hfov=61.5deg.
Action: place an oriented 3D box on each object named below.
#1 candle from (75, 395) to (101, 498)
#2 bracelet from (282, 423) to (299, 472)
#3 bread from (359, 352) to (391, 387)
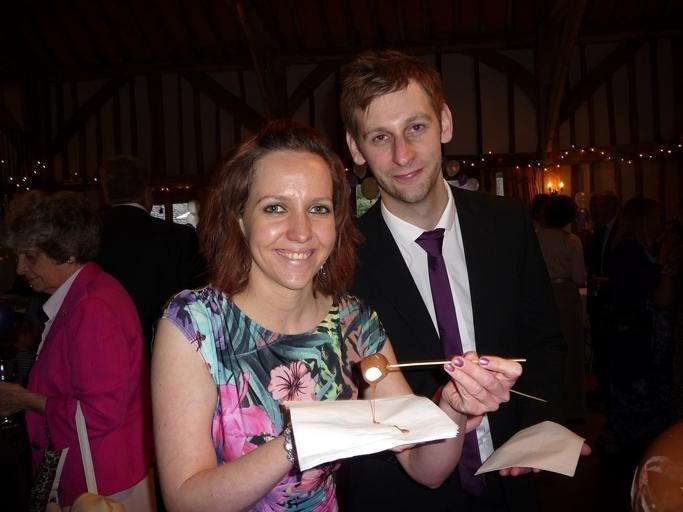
[{"bbox_3d":[-1.482,1.104,3.347,0.079,0.632,0.011,-9,6,-41],"label":"candle"},{"bbox_3d":[-0.242,0.888,2.645,0.047,0.178,0.122,0,-8,-8],"label":"bracelet"},{"bbox_3d":[0.157,0.547,2.796,0.105,0.056,0.154,-19,29,18],"label":"bread"}]
